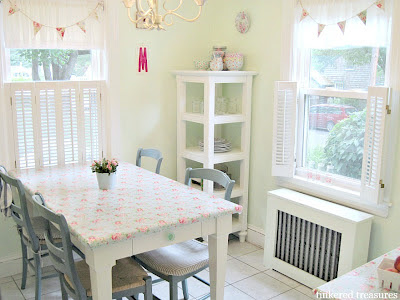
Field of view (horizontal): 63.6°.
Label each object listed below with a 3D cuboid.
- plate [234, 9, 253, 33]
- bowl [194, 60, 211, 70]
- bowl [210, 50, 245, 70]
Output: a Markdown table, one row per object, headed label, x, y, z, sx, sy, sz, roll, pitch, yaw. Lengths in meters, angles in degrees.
| label | x | y | z | sx | sy | sz | roll | pitch | yaw |
| --- | --- | --- | --- | --- | --- | --- | --- | --- | --- |
| plate | 0.471 | -1.364 | 3.429 | 0.051 | 0.214 | 0.194 | -8 | 25 | -36 |
| bowl | 0.044 | -0.888 | 3.363 | 0.160 | 0.108 | 0.222 | -4 | 13 | -11 |
| bowl | 0.272 | -0.874 | 3.301 | 0.279 | 0.158 | 0.236 | 5 | 13 | 35 |
